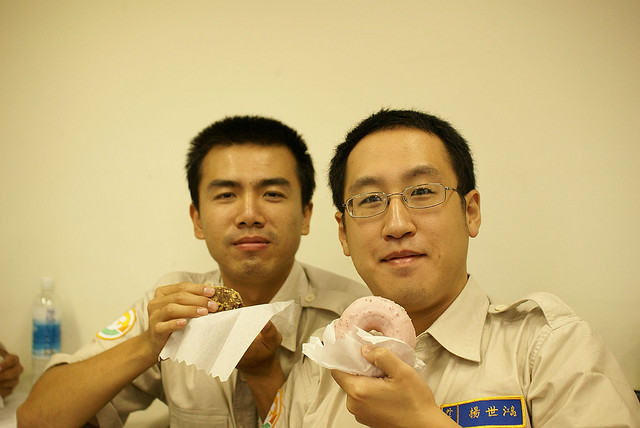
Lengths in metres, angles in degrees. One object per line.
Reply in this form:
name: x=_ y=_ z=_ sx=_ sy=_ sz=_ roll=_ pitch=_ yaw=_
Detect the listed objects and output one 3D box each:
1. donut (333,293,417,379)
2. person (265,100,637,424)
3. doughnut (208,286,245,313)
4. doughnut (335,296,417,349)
donut: x=0.186 y=0.420 z=1.756 sx=0.279 sy=0.280 sz=0.129 roll=-7 pitch=-12 yaw=6
person: x=0.414 y=0.171 z=2.007 sx=1.247 sy=1.264 sz=0.572 roll=-7 pitch=-12 yaw=5
doughnut: x=-0.402 y=0.357 z=2.114 sx=0.089 sy=0.046 sz=0.145 roll=-13 pitch=-17 yaw=2
doughnut: x=0.209 y=0.377 z=1.796 sx=0.205 sy=0.204 sz=0.076 roll=35 pitch=10 yaw=17
